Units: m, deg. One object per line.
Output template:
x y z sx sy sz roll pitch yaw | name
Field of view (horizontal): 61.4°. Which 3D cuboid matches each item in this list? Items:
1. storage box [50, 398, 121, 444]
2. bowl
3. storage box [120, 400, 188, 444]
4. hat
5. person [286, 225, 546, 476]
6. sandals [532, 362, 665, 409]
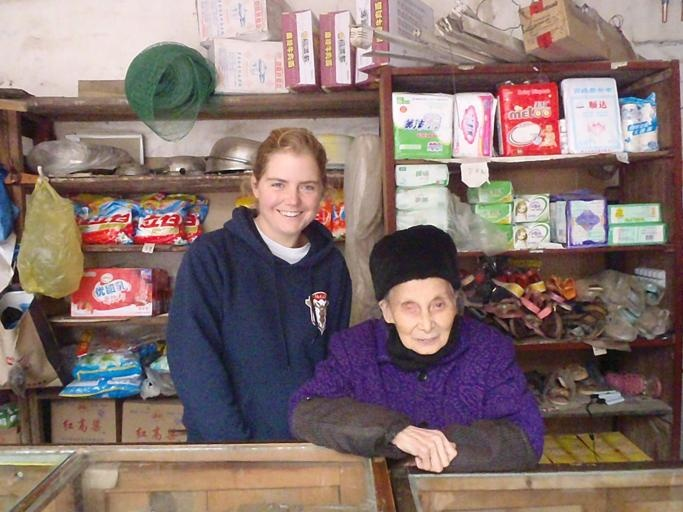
-1.343 0.897 3.153 0.427 0.246 0.214 -3 -6 13 | storage box
-0.775 -0.510 3.054 0.619 0.125 0.351 -1 4 -3 | bowl
-1.040 0.886 3.077 0.283 0.218 0.161 9 -13 -31 | storage box
0.235 0.014 1.881 0.241 0.216 0.303 -9 2 -20 | hat
0.201 0.245 1.692 0.724 0.654 0.525 -2 6 16 | person
1.309 0.697 3.006 0.387 0.101 0.266 -2 0 -12 | sandals
